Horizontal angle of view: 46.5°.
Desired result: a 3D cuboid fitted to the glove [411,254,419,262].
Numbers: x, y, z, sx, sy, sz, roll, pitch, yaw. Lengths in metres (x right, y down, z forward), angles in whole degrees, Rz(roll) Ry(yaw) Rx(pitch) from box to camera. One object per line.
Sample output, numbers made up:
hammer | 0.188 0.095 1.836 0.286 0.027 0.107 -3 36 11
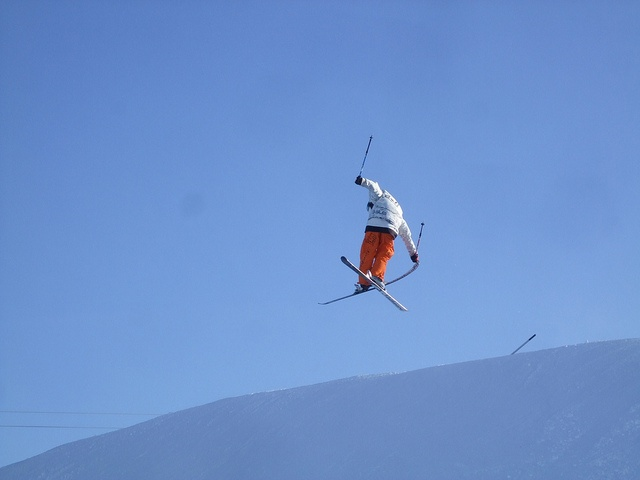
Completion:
glove | 2.183 0.365 16.955 0.165 0.124 0.275 -4 -91 28

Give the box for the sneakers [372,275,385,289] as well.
sneakers | 1.390 0.939 17.426 0.171 0.514 0.158 -1 -26 -29
